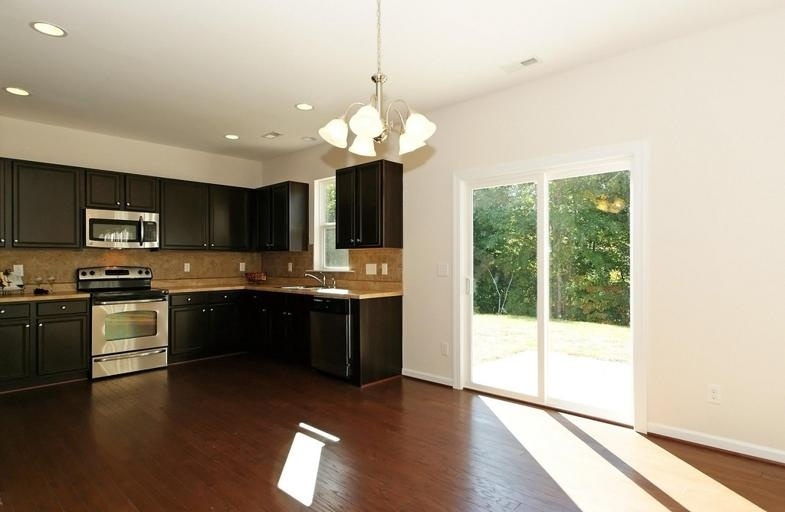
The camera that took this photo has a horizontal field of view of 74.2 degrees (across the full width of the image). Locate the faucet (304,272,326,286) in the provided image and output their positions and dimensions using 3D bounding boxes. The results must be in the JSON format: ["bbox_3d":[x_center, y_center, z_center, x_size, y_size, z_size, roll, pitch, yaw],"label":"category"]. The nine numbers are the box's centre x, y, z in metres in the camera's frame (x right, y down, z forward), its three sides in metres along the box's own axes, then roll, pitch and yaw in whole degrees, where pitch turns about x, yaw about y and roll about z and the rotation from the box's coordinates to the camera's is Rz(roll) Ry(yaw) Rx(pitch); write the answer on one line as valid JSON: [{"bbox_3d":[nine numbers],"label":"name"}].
[{"bbox_3d":[-1.090,0.301,7.519,0.093,0.191,0.530,-12,16,-38],"label":"faucet"}]

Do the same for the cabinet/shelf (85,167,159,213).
[{"bbox_3d":[-3.719,-0.739,6.961,0.826,0.482,0.463,3,-5,-43],"label":"cabinet/shelf"}]

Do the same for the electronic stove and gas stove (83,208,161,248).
[{"bbox_3d":[-3.552,-0.368,6.861,0.949,0.610,0.146,-11,17,-39],"label":"electronic stove and gas stove"}]

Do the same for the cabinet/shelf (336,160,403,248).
[{"bbox_3d":[-0.250,-0.643,6.448,0.632,1.226,1.136,2,-4,-45],"label":"cabinet/shelf"}]

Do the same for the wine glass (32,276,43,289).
[{"bbox_3d":[-4.478,0.315,6.537,0.145,0.186,0.150,-3,-5,42],"label":"wine glass"}]

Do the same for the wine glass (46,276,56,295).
[{"bbox_3d":[-4.341,0.353,6.604,0.090,0.190,0.185,-6,14,-20],"label":"wine glass"}]

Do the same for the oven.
[{"bbox_3d":[-3.393,1.102,6.903,0.987,1.052,0.813,-6,-16,-5],"label":"oven"}]

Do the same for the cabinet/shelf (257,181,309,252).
[{"bbox_3d":[-1.586,-0.583,7.669,0.450,1.019,1.120,0,-1,-39],"label":"cabinet/shelf"}]
